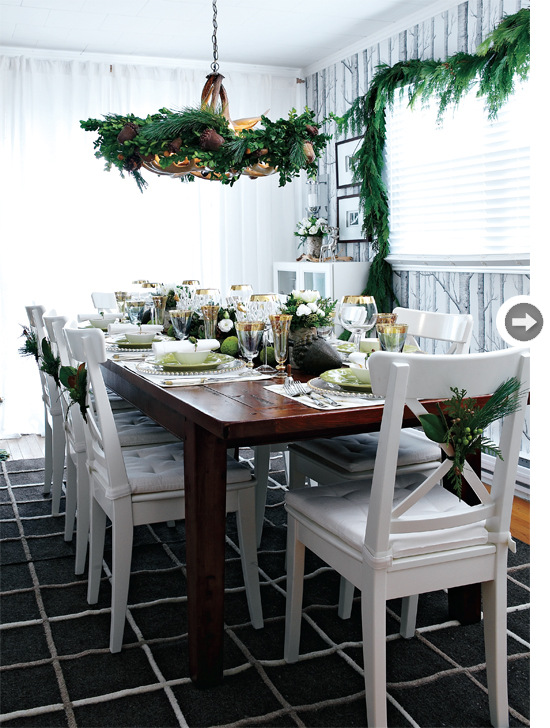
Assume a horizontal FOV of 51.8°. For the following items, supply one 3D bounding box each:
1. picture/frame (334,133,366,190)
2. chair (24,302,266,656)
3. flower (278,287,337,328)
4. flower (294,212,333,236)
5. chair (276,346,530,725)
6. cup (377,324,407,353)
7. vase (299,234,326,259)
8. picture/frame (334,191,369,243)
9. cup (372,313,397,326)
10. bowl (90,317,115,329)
[{"bbox_3d":[0.557,-1.494,4.236,0.018,0.359,0.363,-13,22,-22],"label":"picture/frame"},{"bbox_3d":[-0.380,0.358,1.690,0.371,0.653,0.927,-4,10,-22],"label":"chair"},{"bbox_3d":[0.087,-0.170,1.694,0.124,0.105,0.128,2,6,9],"label":"flower"},{"bbox_3d":[0.268,-1.025,4.278,0.173,0.154,0.280,-4,5,-42],"label":"flower"},{"bbox_3d":[0.269,0.353,1.203,0.395,0.775,0.473,-2,4,-17],"label":"chair"},{"bbox_3d":[0.267,-0.066,1.279,0.071,0.075,0.070,-1,10,0],"label":"cup"},{"bbox_3d":[0.269,-0.862,4.298,0.099,0.194,0.254,-3,4,-29],"label":"vase"},{"bbox_3d":[0.573,-1.085,4.205,0.020,0.458,0.440,-2,5,-23],"label":"picture/frame"},{"bbox_3d":[0.282,-0.113,1.447,0.056,0.039,0.055,-2,3,0],"label":"cup"},{"bbox_3d":[-0.847,-0.201,2.767,0.104,0.040,0.103,2,7,0],"label":"bowl"}]
